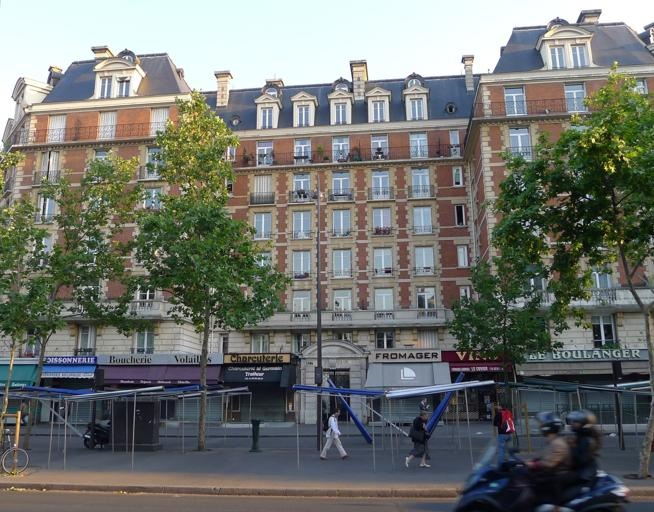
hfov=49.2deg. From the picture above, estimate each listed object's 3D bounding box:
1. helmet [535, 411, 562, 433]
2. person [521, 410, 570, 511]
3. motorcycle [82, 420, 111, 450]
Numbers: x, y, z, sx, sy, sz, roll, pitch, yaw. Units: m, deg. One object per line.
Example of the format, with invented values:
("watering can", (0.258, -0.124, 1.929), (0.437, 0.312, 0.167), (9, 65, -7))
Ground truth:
("helmet", (5.506, 4.083, 17.608), (0.587, 0.514, 0.428), (-8, -12, -18))
("person", (5.311, 4.929, 17.212), (1.122, 2.268, 0.341), (-5, -15, 15))
("motorcycle", (-10.611, 8.286, 33.271), (0.967, 1.088, 2.043), (2, -8, -4))
